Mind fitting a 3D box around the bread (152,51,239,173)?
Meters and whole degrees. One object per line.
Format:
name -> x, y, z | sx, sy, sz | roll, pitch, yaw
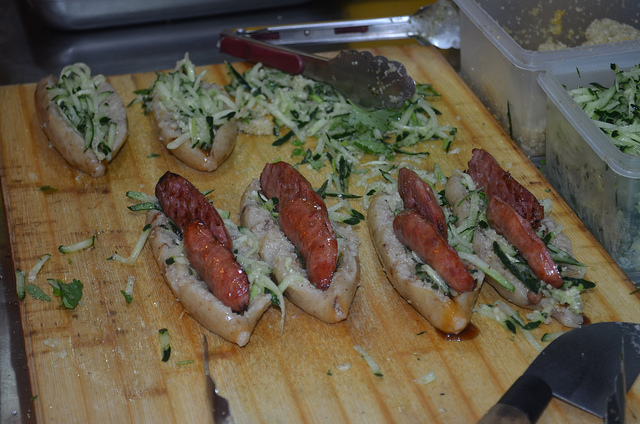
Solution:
bread -> -0.823, -0.654, 3.741 | 0.429, 0.238, 0.770 | -11, 65, -27
